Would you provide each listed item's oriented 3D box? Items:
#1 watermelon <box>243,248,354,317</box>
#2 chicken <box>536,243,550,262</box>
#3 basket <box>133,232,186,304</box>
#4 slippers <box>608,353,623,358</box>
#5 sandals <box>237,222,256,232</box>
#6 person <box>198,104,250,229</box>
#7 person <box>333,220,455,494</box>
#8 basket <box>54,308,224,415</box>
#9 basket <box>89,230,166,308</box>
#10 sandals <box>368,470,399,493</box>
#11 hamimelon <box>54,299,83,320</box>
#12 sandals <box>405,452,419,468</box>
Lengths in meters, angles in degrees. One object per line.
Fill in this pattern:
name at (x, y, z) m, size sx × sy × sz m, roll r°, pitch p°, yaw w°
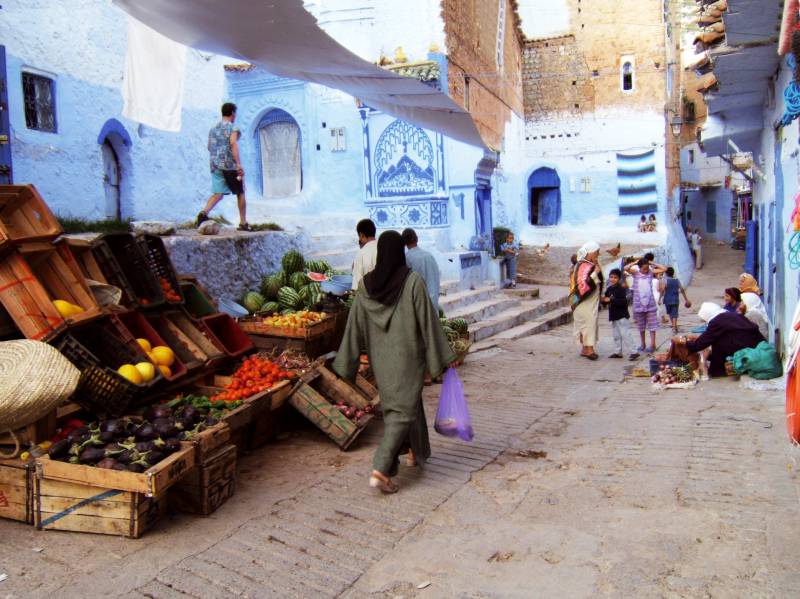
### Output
watermelon at (-1.334, -0.228, 7.460) m, size 1.343 × 0.965 × 0.897 m, roll 1°, pitch 8°, yaw 12°
chicken at (5.046, -1.670, 19.055) m, size 0.486 × 0.336 × 0.747 m, roll -20°, pitch 11°, yaw 20°
basket at (-2.620, -0.350, 5.873) m, size 0.374 × 0.810 × 0.458 m, roll -1°, pitch 5°, yaw 35°
slippers at (3.672, 0.969, 9.212) m, size 0.231 × 0.096 × 0.080 m, roll 2°, pitch 2°, yaw 2°
sandals at (-2.314, -1.111, 8.303) m, size 0.318 × 0.129 × 0.119 m, roll -1°, pitch 5°, yaw -37°
person at (-2.700, -2.056, 8.432) m, size 0.896 × 2.219 × 0.773 m, roll 1°, pitch 12°, yaw -21°
person at (-0.043, 0.472, 4.947) m, size 1.030 × 2.234 × 0.905 m, roll -1°, pitch 1°, yaw -40°
basket at (-2.412, 0.511, 4.782) m, size 0.295 × 0.585 × 0.952 m, roll -49°, pitch -4°, yaw 12°
basket at (-2.728, -0.308, 5.413) m, size 0.242 × 0.759 × 0.492 m, roll -21°, pitch -1°, yaw 36°
sandals at (-0.111, 1.544, 4.539) m, size 0.119 × 0.137 × 0.341 m, roll 1°, pitch -11°, yaw 29°
hamimelon at (-2.726, 0.080, 4.480) m, size 0.154 × 0.122 × 0.204 m, roll -5°, pitch 6°, yaw 2°
sandals at (0.106, 1.491, 4.957) m, size 0.085 × 0.072 × 0.183 m, roll -1°, pitch -10°, yaw 8°
